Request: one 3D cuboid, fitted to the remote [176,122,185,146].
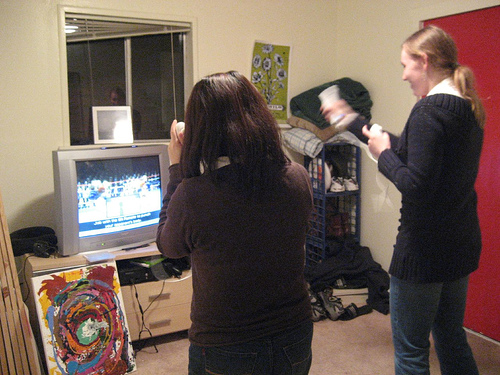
[{"bbox_3d":[-0.282,-0.225,1.706,0.029,0.084,0.061,1,-9,2],"label":"remote"}]

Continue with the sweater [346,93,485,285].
[{"bbox_3d":[0.892,0.019,1.969,0.482,0.907,0.230,-5,7,-9],"label":"sweater"}]

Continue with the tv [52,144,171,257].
[{"bbox_3d":[-1.137,0.073,3.365,0.907,0.818,0.518,-9,11,-43],"label":"tv"}]
